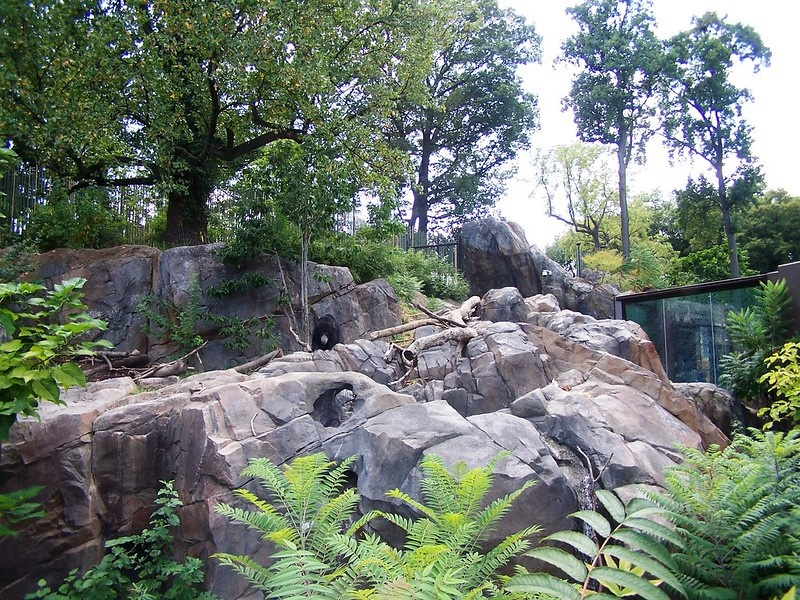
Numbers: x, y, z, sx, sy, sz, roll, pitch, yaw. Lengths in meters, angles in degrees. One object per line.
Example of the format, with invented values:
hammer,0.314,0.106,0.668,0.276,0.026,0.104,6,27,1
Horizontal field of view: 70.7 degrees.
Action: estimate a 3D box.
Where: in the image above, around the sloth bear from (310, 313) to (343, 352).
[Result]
sloth bear,-1.873,0.829,13.994,0.485,0.783,1.055,-3,1,-1
